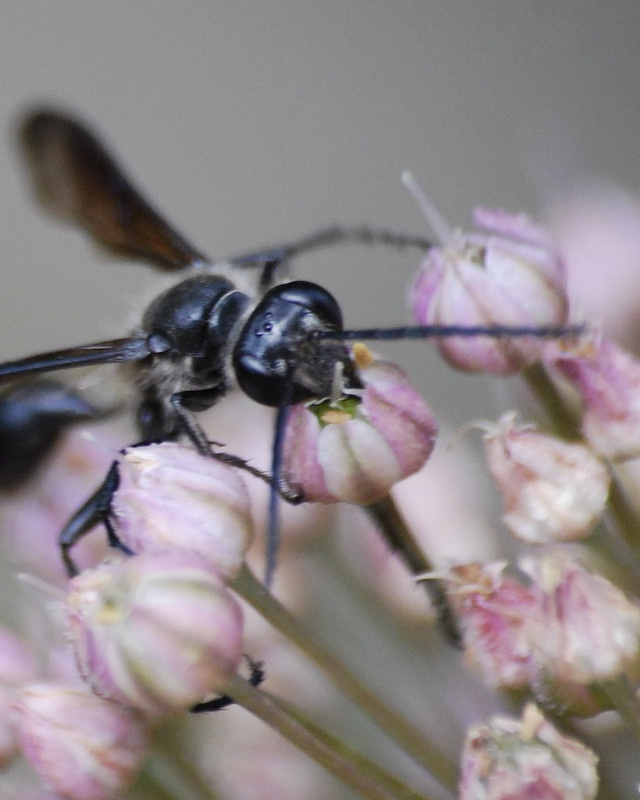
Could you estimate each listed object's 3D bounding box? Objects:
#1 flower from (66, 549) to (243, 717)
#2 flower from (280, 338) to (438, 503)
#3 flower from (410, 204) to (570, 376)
[{"bbox_3d":[-0.056,0.077,0.372,0.058,0.057,0.045,1,-31,-17],"label":"flower"},{"bbox_3d":[0.012,0.009,0.414,0.059,0.059,0.036,-13,-30,7],"label":"flower"},{"bbox_3d":[0.068,-0.038,0.451,0.074,0.050,0.049,-14,15,-14],"label":"flower"}]
